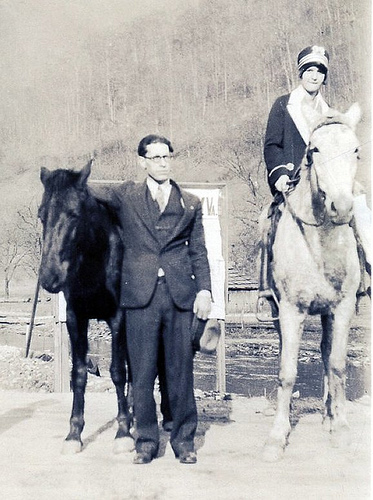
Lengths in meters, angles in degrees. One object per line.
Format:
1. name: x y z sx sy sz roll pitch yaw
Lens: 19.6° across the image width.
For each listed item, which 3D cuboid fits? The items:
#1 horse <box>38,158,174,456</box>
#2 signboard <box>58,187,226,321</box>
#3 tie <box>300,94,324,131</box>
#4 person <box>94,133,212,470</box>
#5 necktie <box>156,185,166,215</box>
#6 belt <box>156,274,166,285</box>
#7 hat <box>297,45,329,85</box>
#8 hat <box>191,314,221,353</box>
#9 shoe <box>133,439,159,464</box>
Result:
1. horse: -1.016 0.562 10.797 1.032 2.902 0.626 0 0 -26
2. signboard: -0.512 0.049 10.708 1.387 1.496 0.537 0 -1 3
3. tie: 1.330 -1.422 11.453 0.244 0.441 0.100 -1 -13 -7
4. person: -0.236 0.473 10.545 0.926 3.194 0.528 0 0 -4
5. necktie: -0.252 -0.507 10.568 0.084 0.269 0.064 0 0 32
6. belt: -0.248 0.277 10.435 0.077 0.065 0.081 5 -7 -22
7. hat: 1.335 -2.014 11.595 0.230 0.271 0.331 1 -7 0
8. hat: 0.174 0.807 10.525 0.272 0.365 0.187 0 0 0
9. shoe: -0.401 1.932 10.470 0.244 0.224 0.147 0 0 -11
